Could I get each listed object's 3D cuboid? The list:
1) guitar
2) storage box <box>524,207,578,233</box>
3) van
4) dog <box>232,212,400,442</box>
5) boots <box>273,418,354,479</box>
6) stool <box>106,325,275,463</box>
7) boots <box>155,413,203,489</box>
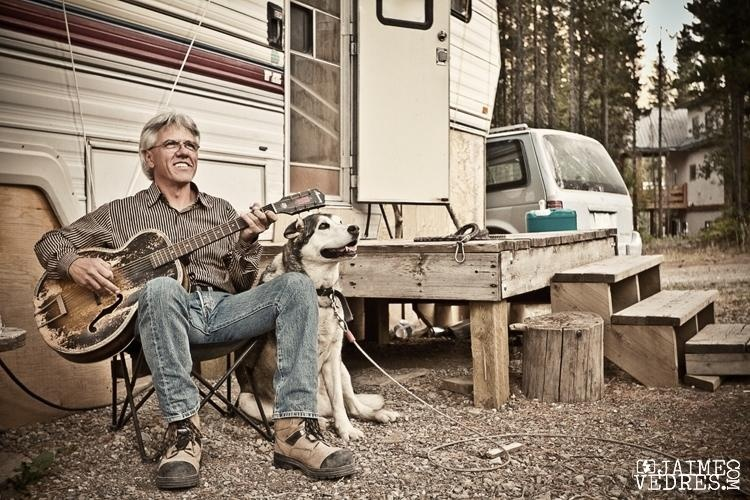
[{"bbox_3d":[-1.263,0.204,4.450,1.963,0.788,0.287,-27,-21,-15],"label":"guitar"},{"bbox_3d":[2.117,-0.210,7.408,0.512,0.481,0.297,-3,-4,31],"label":"storage box"},{"bbox_3d":[2.430,-0.864,8.248,1.850,1.442,1.153,1,14,8],"label":"van"},{"bbox_3d":[-0.479,0.511,4.512,1.030,1.541,0.861,4,8,19],"label":"dog"},{"bbox_3d":[-0.401,1.264,4.076,0.591,0.430,0.250,0,-2,24],"label":"boots"},{"bbox_3d":[-1.266,0.981,4.599,0.975,1.375,0.885,-1,-6,24],"label":"stool"},{"bbox_3d":[-1.214,1.250,3.850,0.264,0.375,0.322,-4,15,-13],"label":"boots"}]
